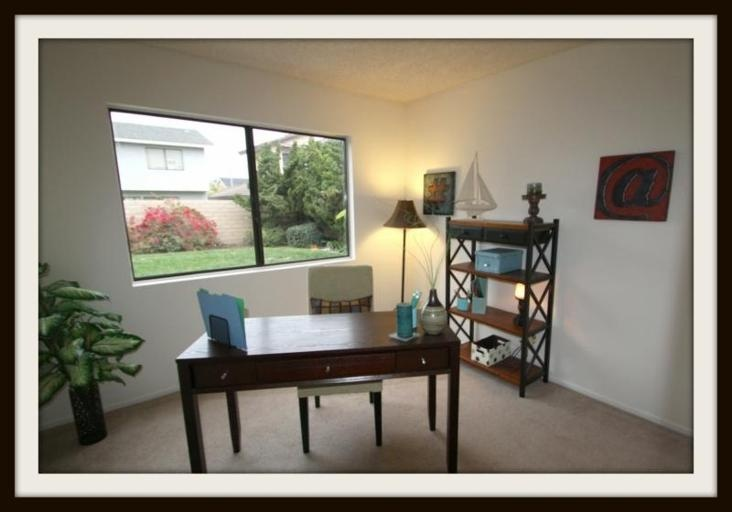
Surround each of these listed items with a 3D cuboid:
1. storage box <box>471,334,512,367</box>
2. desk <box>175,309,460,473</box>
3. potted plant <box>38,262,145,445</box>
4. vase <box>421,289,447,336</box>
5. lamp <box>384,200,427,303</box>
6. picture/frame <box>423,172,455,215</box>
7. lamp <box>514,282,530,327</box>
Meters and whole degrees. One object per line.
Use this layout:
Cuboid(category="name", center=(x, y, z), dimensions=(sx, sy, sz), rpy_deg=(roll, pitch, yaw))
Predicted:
Cuboid(category="storage box", center=(0.969, 0.741, 4.122), dimensions=(0.330, 0.152, 0.220), rpy_deg=(-10, 16, -33))
Cuboid(category="desk", center=(-0.229, 0.942, 3.290), dimensions=(1.585, 0.952, 0.760), rpy_deg=(-3, 6, -6))
Cuboid(category="potted plant", center=(-1.752, 0.629, 3.332), dimensions=(0.568, 1.181, 0.661), rpy_deg=(-5, 9, -29))
Cuboid(category="vase", center=(0.416, 0.327, 3.087), dimensions=(0.168, 0.249, 0.174), rpy_deg=(-8, 5, -39))
Cuboid(category="lamp", center=(0.365, -0.028, 4.852), dimensions=(0.381, 0.982, 0.430), rpy_deg=(0, 8, 4))
Cuboid(category="picture/frame", center=(0.662, -0.562, 4.641), dimensions=(0.017, 0.440, 0.400), rpy_deg=(-2, 5, -34))
Cuboid(category="lamp", center=(1.134, 0.355, 3.805), dimensions=(0.083, 0.319, 0.261), rpy_deg=(1, 8, 14))
